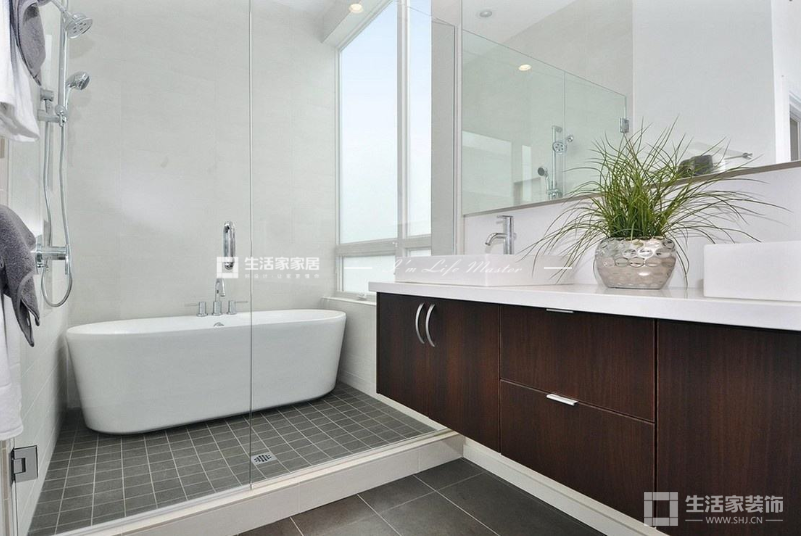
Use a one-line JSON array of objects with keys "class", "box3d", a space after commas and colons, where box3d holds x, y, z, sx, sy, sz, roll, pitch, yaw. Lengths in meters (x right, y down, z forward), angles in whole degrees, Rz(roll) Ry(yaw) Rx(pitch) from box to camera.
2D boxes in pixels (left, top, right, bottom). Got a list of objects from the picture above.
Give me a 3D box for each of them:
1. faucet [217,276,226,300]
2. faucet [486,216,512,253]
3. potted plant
[{"class": "faucet", "box3d": [-0.958, 0.101, 2.775, 0.062, 0.116, 0.040, -10, 15, -32]}, {"class": "faucet", "box3d": [0.562, -0.190, 2.906, 0.151, 0.223, 0.400, 0, 12, 9]}, {"class": "potted plant", "box3d": [1.143, -0.263, 2.532, 0.839, 0.516, 0.836, 0, -2, -5]}]
